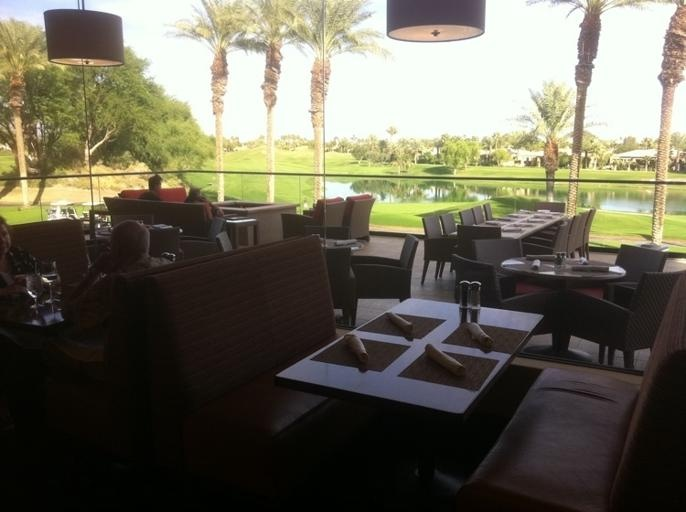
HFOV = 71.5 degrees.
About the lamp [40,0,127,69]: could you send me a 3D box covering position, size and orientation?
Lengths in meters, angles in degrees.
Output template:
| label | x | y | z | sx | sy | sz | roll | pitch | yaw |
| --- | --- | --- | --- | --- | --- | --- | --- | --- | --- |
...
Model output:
| label | x | y | z | sx | sy | sz | roll | pitch | yaw |
| --- | --- | --- | --- | --- | --- | --- | --- | --- | --- |
| lamp | -1.250 | -1.024 | 2.333 | 0.288 | 0.311 | 0.298 | 7 | 15 | 25 |
